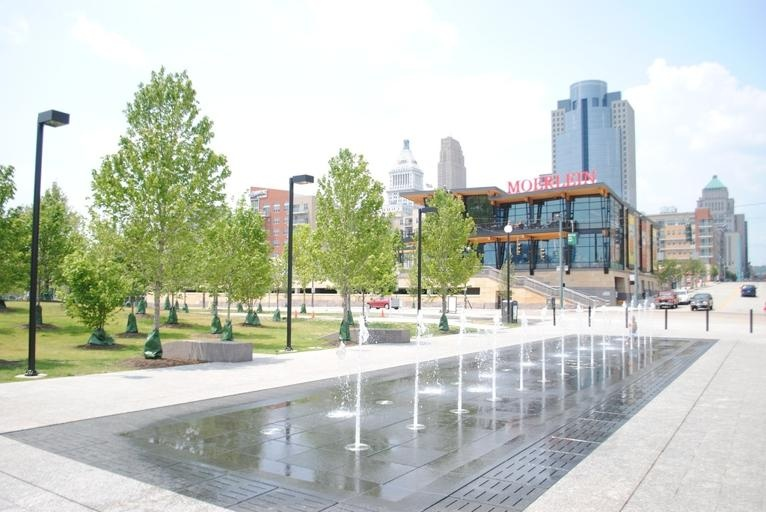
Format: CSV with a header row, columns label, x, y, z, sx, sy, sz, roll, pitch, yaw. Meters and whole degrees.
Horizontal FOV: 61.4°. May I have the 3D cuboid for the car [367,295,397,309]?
label,x,y,z,sx,sy,sz,roll,pitch,yaw
car,0.144,5.165,72.878,3.343,1.427,4.916,0,-4,-18

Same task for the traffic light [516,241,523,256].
label,x,y,z,sx,sy,sz,roll,pitch,yaw
traffic light,17.672,-1.090,83.561,0.898,1.798,1.057,-3,-4,25

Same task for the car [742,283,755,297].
label,x,y,z,sx,sy,sz,roll,pitch,yaw
car,49.742,4.696,87.566,1.339,1.038,3.059,-3,-7,32
